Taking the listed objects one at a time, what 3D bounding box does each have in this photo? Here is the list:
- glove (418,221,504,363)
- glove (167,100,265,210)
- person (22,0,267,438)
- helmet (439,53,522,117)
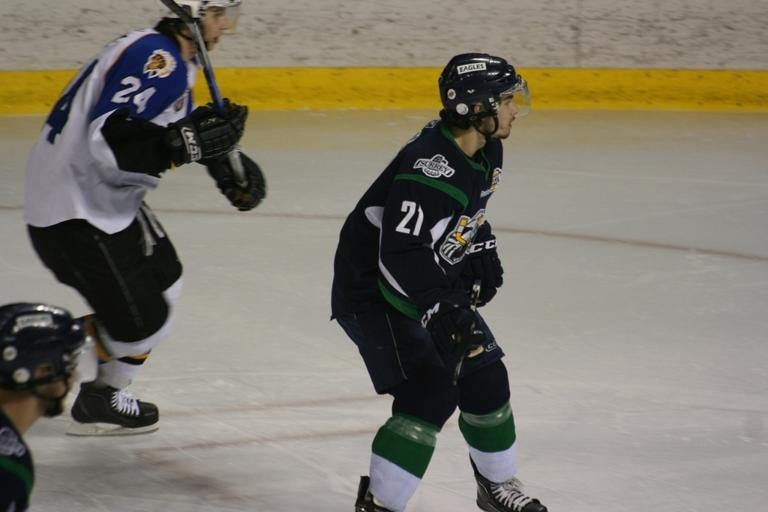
[{"bbox_3d":[0.331,0.142,3.198,0.178,0.392,0.520,17,64,19],"label":"glove"},{"bbox_3d":[-0.703,-0.444,3.517,0.321,0.183,0.495,-39,76,-10],"label":"glove"},{"bbox_3d":[-1.089,-0.143,3.516,0.663,1.852,0.852,21,31,25],"label":"person"},{"bbox_3d":[0.357,-0.685,3.270,0.363,0.207,0.233,1,8,-3],"label":"helmet"}]
